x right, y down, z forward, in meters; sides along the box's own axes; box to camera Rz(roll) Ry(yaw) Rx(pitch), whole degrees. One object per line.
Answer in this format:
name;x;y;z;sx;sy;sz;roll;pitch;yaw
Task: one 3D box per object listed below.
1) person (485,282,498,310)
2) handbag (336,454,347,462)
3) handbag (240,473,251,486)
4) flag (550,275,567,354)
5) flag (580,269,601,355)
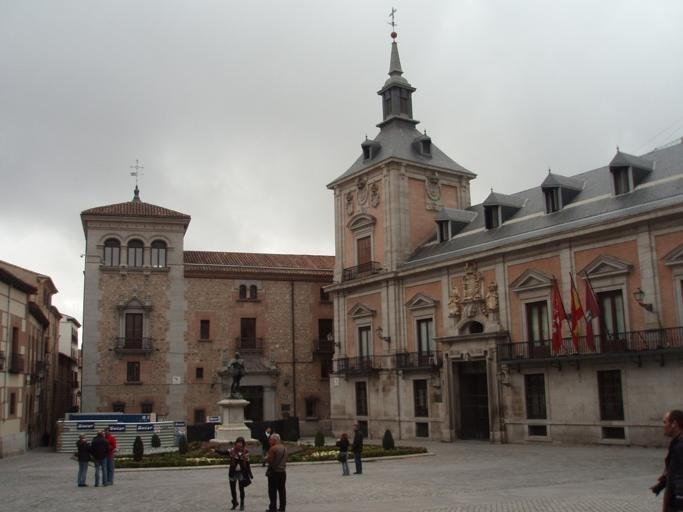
person;8.372;2.238;47.718;0.247;1.575;0.790;11;-20;-41
handbag;0.031;8.157;34.428;0.464;0.425;0.290;0;-16;3
handbag;-3.141;7.461;28.694;0.354;0.466;0.271;0;-4;4
flag;11.005;2.944;43.682;0.870;4.020;1.615;-7;-16;17
flag;12.234;2.666;42.053;0.752;3.825;1.849;-6;-15;15
